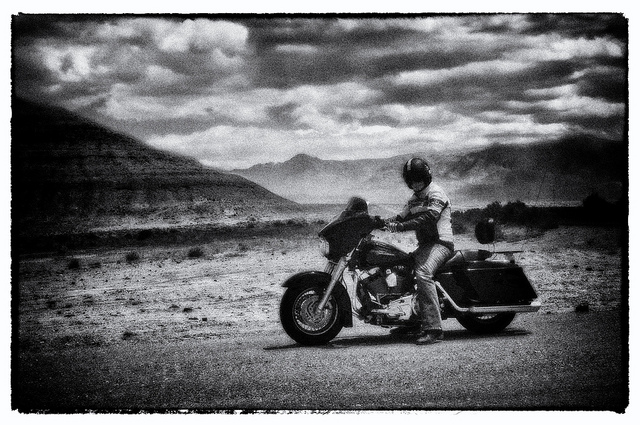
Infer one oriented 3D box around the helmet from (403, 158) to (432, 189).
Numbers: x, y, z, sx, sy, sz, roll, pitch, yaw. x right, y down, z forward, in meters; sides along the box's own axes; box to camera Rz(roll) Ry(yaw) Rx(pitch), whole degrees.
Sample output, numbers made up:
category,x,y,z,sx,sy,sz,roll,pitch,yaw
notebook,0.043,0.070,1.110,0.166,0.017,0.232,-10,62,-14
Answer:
category,x,y,z,sx,sy,sz,roll,pitch,yaw
helmet,1.635,-0.644,8.595,0.457,0.517,0.600,5,17,42
